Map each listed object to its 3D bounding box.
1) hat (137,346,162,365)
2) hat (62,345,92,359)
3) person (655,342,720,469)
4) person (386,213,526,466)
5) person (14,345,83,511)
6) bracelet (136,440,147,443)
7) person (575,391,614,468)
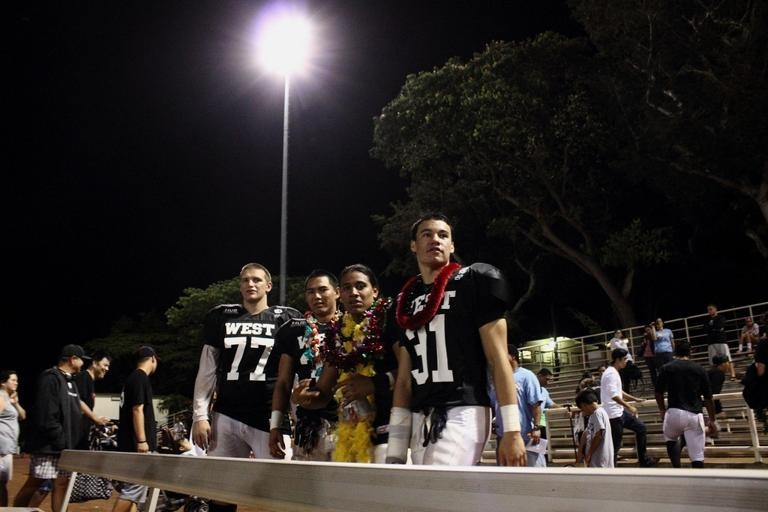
[{"bbox_3d":[-3.395,1.430,7.778,0.245,0.206,0.345,-3,8,-5],"label":"hat"},{"bbox_3d":[-4.935,1.541,8.812,0.353,0.280,0.514,-3,-10,34],"label":"hat"},{"bbox_3d":[4.954,2.429,8.932,0.815,2.047,1.300,-11,-13,25],"label":"person"},{"bbox_3d":[0.429,0.526,3.949,1.007,1.866,0.677,-11,-13,24],"label":"person"},{"bbox_3d":[-4.894,2.454,7.933,0.693,2.344,1.033,-1,-13,-21],"label":"person"},{"bbox_3d":[-3.215,2.440,7.176,0.101,0.048,0.075,0,-14,-23],"label":"bracelet"},{"bbox_3d":[3.252,3.063,8.484,0.550,1.808,0.651,-3,-26,29],"label":"person"}]
